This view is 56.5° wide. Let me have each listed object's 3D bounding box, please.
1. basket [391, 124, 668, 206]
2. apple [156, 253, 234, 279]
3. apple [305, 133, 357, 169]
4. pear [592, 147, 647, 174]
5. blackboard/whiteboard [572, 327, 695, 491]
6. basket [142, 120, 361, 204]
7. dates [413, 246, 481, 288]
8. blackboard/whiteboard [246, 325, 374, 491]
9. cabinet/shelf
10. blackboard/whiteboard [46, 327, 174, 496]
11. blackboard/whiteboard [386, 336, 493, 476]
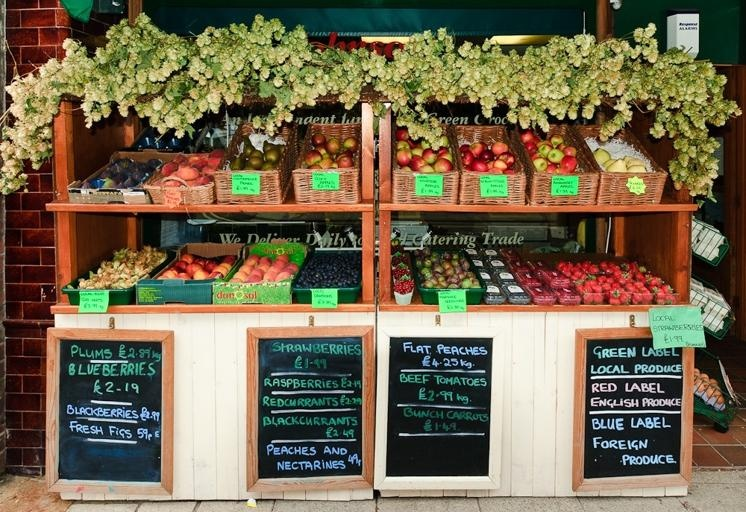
[{"bbox_3d":[1.033,-0.673,4.945,1.910,0.606,0.637,-2,12,-2],"label":"basket"},{"bbox_3d":[-1.309,0.085,5.168,0.268,0.090,0.282,0,23,1],"label":"apple"},{"bbox_3d":[-0.303,-0.748,4.979,0.364,0.118,0.258,2,52,1],"label":"apple"},{"bbox_3d":[1.757,-0.660,4.914,0.254,0.086,0.207,10,29,26],"label":"pear"},{"bbox_3d":[1.788,1.034,4.846,1.235,1.570,0.116,0,0,-6],"label":"blackboard/whiteboard"},{"bbox_3d":[-0.711,-0.665,5.008,1.382,0.530,0.709,-2,12,-1],"label":"basket"},{"bbox_3d":[0.536,0.085,5.049,0.473,0.230,0.369,0,14,1],"label":"dates"},{"bbox_3d":[-0.435,1.068,4.807,0.911,1.157,0.218,-3,12,-2],"label":"blackboard/whiteboard"},{"bbox_3d":[0.047,0.264,4.879,4.670,3.020,0.832,0,4,-1],"label":"cabinet/shelf"},{"bbox_3d":[-1.814,1.043,4.803,1.235,1.510,0.112,0,-2,-1],"label":"blackboard/whiteboard"},{"bbox_3d":[0.478,1.013,4.932,0.771,0.947,0.244,-1,10,-4],"label":"blackboard/whiteboard"}]
